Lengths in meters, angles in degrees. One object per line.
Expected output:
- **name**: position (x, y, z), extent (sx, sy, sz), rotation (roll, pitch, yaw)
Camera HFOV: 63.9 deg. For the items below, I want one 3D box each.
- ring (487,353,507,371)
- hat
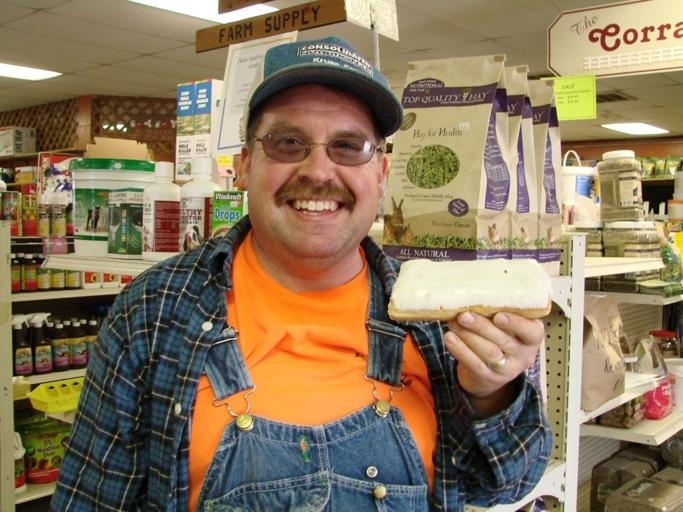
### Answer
- **ring**: position (0.368, 0.249, 1.301), extent (0.041, 0.046, 0.019), rotation (-11, 48, -34)
- **hat**: position (-0.065, -0.510, 1.638), extent (0.363, 0.262, 0.585), rotation (-2, 21, -12)
